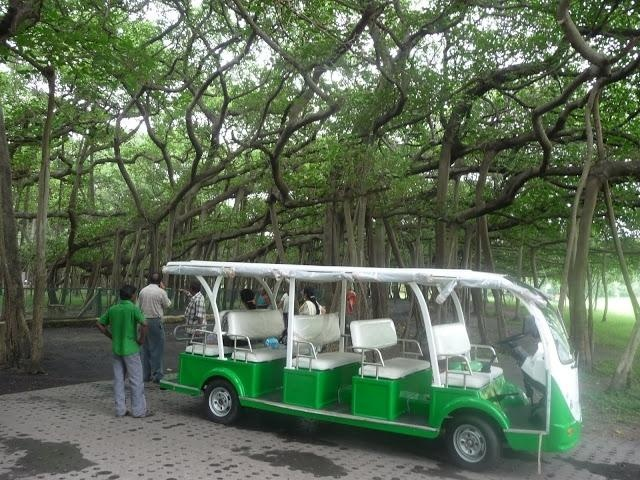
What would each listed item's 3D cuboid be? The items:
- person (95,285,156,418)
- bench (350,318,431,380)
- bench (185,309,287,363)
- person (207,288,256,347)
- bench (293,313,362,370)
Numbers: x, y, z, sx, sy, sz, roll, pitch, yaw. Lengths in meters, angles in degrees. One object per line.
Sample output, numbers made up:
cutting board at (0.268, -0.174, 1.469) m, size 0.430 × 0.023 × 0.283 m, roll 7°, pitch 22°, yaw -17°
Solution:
person at (-3.653, 2.058, 9.222) m, size 0.894 × 2.548 × 0.349 m, roll 1°, pitch 0°, yaw 14°
bench at (1.281, 1.900, 8.754) m, size 0.881 × 0.941 × 1.794 m, roll 0°, pitch -5°, yaw 33°
bench at (-1.450, 1.819, 9.545) m, size 1.076 × 0.602 × 1.416 m, roll -3°, pitch -7°, yaw 21°
person at (-1.780, 1.600, 10.457) m, size 0.805 × 1.319 × 1.128 m, roll 2°, pitch -3°, yaw -41°
bench at (0.143, 1.859, 9.235) m, size 0.856 × 0.925 × 1.822 m, roll 0°, pitch -5°, yaw 32°
